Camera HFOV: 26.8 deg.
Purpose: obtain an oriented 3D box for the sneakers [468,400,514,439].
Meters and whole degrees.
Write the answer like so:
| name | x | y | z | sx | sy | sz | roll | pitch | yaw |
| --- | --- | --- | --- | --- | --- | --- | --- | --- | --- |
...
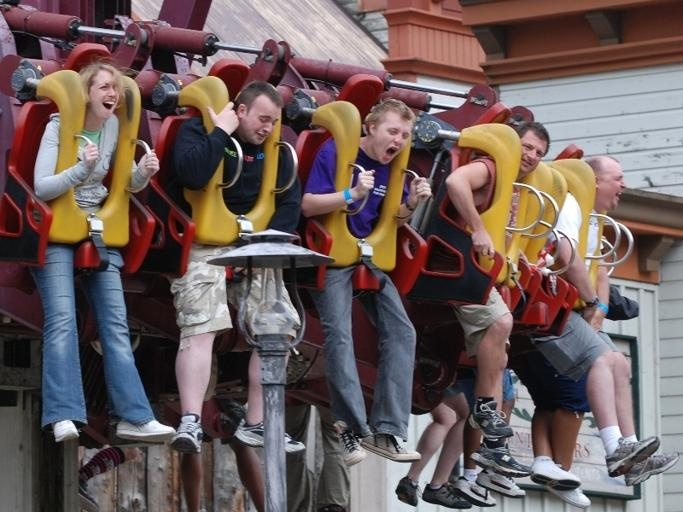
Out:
| name | x | y | z | sx | sy | sz | roll | pitch | yaw |
| --- | --- | --- | --- | --- | --- | --- | --- | --- | --- |
| sneakers | 1.120 | 1.233 | 10.786 | 0.303 | 0.282 | 0.312 | 1 | -10 | -5 |

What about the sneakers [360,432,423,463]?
| name | x | y | z | sx | sy | sz | roll | pitch | yaw |
| --- | --- | --- | --- | --- | --- | --- | --- | --- | --- |
| sneakers | 0.328 | 1.328 | 9.991 | 0.402 | 0.189 | 0.252 | 0 | -10 | 3 |

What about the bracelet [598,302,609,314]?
| name | x | y | z | sx | sy | sz | roll | pitch | yaw |
| --- | --- | --- | --- | --- | --- | --- | --- | --- | --- |
| bracelet | 2.155 | 0.439 | 11.971 | 0.104 | 0.033 | 0.105 | 39 | 25 | 26 |

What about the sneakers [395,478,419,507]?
| name | x | y | z | sx | sy | sz | roll | pitch | yaw |
| --- | --- | --- | --- | --- | --- | --- | --- | --- | --- |
| sneakers | 0.539 | 1.957 | 11.899 | 0.162 | 0.171 | 0.256 | -4 | -35 | 45 |

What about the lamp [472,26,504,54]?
| name | x | y | z | sx | sy | sz | roll | pitch | yaw |
| --- | --- | --- | --- | --- | --- | --- | --- | --- | --- |
| lamp | 1.844 | -2.694 | 17.934 | 0.348 | 0.301 | 0.334 | -5 | -11 | 29 |

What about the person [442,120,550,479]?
| name | x | y | z | sx | sy | sz | roll | pitch | yaw |
| --- | --- | --- | --- | --- | --- | --- | --- | --- | --- |
| person | 1.182 | 0.282 | 10.896 | 0.711 | 2.726 | 1.399 | -1 | -10 | 7 |

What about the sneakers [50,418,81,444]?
| name | x | y | z | sx | sy | sz | roll | pitch | yaw |
| --- | --- | --- | --- | --- | --- | --- | --- | --- | --- |
| sneakers | -1.779 | 1.118 | 9.175 | 0.141 | 0.098 | 0.235 | 0 | -20 | -23 |

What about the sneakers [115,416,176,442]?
| name | x | y | z | sx | sy | sz | roll | pitch | yaw |
| --- | --- | --- | --- | --- | --- | --- | --- | --- | --- |
| sneakers | -1.284 | 1.138 | 9.402 | 0.430 | 0.189 | 0.151 | 2 | -12 | -1 |

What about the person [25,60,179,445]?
| name | x | y | z | sx | sy | sz | roll | pitch | yaw |
| --- | --- | --- | --- | --- | --- | --- | --- | --- | --- |
| person | -1.589 | -0.023 | 9.326 | 0.856 | 2.407 | 0.628 | 4 | -11 | -20 |

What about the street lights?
| name | x | y | z | sx | sy | sz | roll | pitch | yaw |
| --- | --- | --- | --- | --- | --- | --- | --- | --- | --- |
| street lights | -0.445 | 0.673 | 8.989 | 0.670 | 1.820 | 0.916 | 0 | -10 | -1 |

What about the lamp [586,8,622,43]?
| name | x | y | z | sx | sy | sz | roll | pitch | yaw |
| --- | --- | --- | --- | --- | --- | --- | --- | --- | --- |
| lamp | 3.137 | -2.750 | 17.186 | 0.317 | 0.381 | 0.464 | -5 | -11 | 26 |

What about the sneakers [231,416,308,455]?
| name | x | y | z | sx | sy | sz | roll | pitch | yaw |
| --- | --- | --- | --- | --- | --- | --- | --- | --- | --- |
| sneakers | -0.489 | 1.230 | 9.716 | 0.569 | 0.258 | 0.206 | 15 | 0 | -8 |

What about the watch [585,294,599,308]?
| name | x | y | z | sx | sy | sz | roll | pitch | yaw |
| --- | --- | --- | --- | --- | --- | --- | --- | --- | --- |
| watch | 2.032 | 0.368 | 11.669 | 0.099 | 0.056 | 0.073 | -6 | 4 | 31 |
